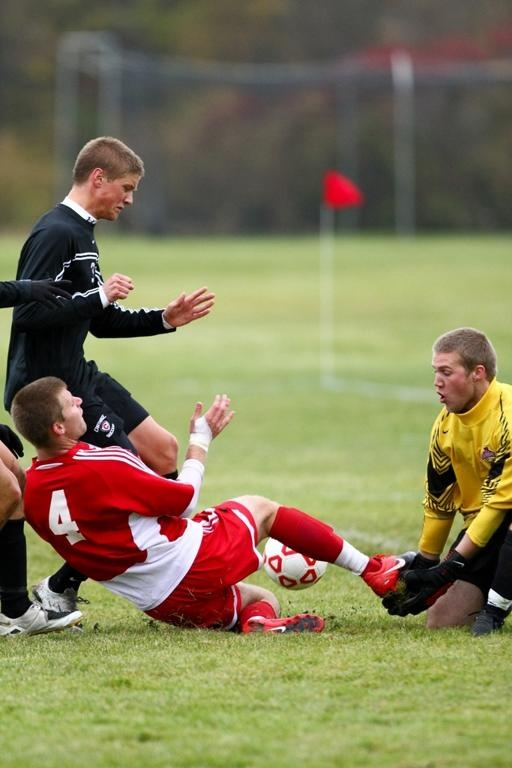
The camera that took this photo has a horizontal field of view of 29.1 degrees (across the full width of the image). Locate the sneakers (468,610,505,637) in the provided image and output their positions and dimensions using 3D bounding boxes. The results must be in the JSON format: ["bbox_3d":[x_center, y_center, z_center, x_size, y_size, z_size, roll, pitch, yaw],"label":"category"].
[{"bbox_3d":[0.772,0.796,3.298,0.105,0.078,0.165,2,2,19],"label":"sneakers"}]

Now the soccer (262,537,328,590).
[{"bbox_3d":[0.118,0.708,3.810,0.209,0.184,0.187,8,-14,7],"label":"soccer"}]

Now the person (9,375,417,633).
[{"bbox_3d":[-0.230,0.460,3.662,1.454,0.764,0.759,0,-4,-27],"label":"person"}]

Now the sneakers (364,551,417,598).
[{"bbox_3d":[0.500,0.668,3.509,0.099,0.097,0.258,1,16,37],"label":"sneakers"}]

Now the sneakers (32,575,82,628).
[{"bbox_3d":[-0.715,0.788,3.539,0.102,0.209,0.071,-47,13,20],"label":"sneakers"}]

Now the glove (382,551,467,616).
[{"bbox_3d":[0.581,0.701,3.466,0.314,0.187,0.129,-28,23,8],"label":"glove"}]
